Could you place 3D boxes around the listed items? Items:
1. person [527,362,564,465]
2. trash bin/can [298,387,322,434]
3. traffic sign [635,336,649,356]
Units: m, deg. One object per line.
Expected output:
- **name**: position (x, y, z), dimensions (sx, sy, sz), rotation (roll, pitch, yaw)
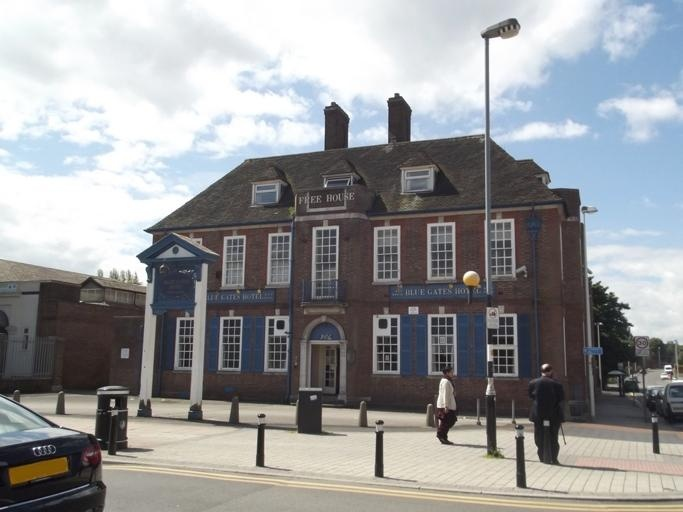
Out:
- **person**: position (5.029, 3.811, 16.189), dimensions (0.787, 2.339, 1.127), rotation (-3, -13, 16)
- **trash bin/can**: position (-0.940, 4.781, 20.600), dimensions (1.287, 1.387, 1.263), rotation (1, -10, -4)
- **traffic sign**: position (11.633, 3.491, 25.640), dimensions (0.485, 0.722, 1.349), rotation (-4, -13, 23)
